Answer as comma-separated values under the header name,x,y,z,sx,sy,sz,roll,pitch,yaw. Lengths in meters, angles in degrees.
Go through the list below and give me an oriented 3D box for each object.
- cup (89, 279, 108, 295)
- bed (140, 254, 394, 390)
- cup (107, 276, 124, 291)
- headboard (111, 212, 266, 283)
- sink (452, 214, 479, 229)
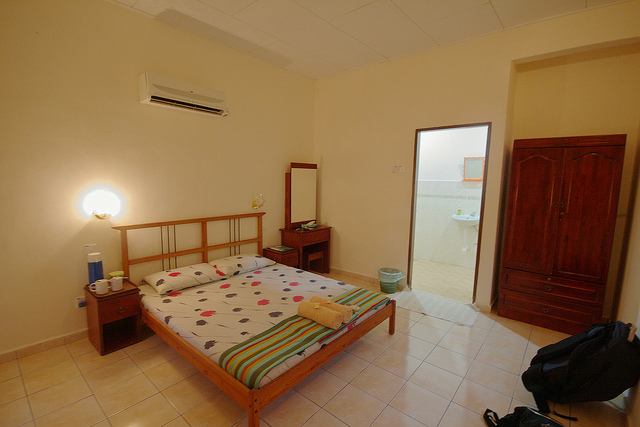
name,x,y,z,sx,sy,sz,roll,pitch,yaw
cup,-2.721,0.889,4.970,0.286,0.169,0.131,1,7,19
bed,-0.750,1.183,5.299,2.425,0.950,2.146,4,7,39
cup,-2.535,0.856,5.046,0.214,0.147,0.132,-6,14,-38
headboard,-1.779,0.583,6.061,0.078,1.149,2.375,19,18,41
sink,2.739,0.153,7.673,0.494,0.284,0.355,2,7,25
